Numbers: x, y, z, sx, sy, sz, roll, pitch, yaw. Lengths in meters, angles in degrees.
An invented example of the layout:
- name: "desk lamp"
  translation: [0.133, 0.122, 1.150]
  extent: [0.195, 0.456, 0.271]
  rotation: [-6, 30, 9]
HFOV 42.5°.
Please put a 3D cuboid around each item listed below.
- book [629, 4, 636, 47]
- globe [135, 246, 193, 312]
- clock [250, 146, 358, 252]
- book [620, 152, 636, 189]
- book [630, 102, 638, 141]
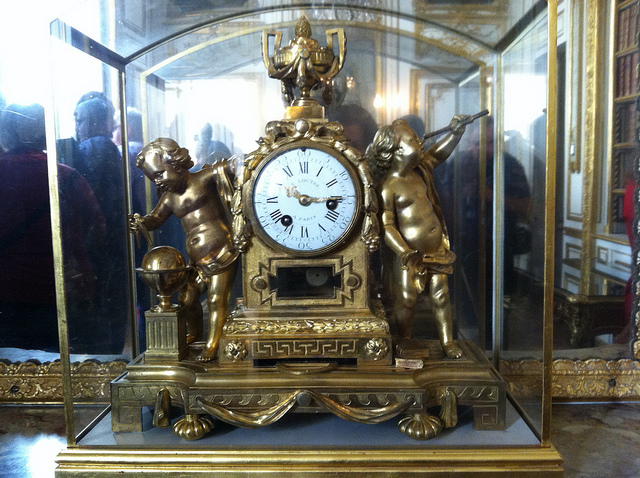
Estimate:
- name: "book"
  translation: [1.595, -1.085, 4.180]
  extent: [0.033, 0.198, 0.021]
  rotation: [-1, 0, 11]
- name: "globe"
  translation: [-0.688, 0.179, 3.662]
  extent: [0.256, 0.292, 0.139]
  rotation: [-2, 0, -25]
- name: "clock"
  translation: [-0.069, -0.191, 3.580]
  extent: [0.427, 0.445, 0.066]
  rotation: [-1, 4, 1]
- name: "book"
  translation: [1.594, -0.358, 4.234]
  extent: [0.090, 0.136, 0.031]
  rotation: [3, 2, 16]
- name: "book"
  translation: [1.608, -0.596, 4.202]
  extent: [0.036, 0.185, 0.018]
  rotation: [-1, 0, 18]
